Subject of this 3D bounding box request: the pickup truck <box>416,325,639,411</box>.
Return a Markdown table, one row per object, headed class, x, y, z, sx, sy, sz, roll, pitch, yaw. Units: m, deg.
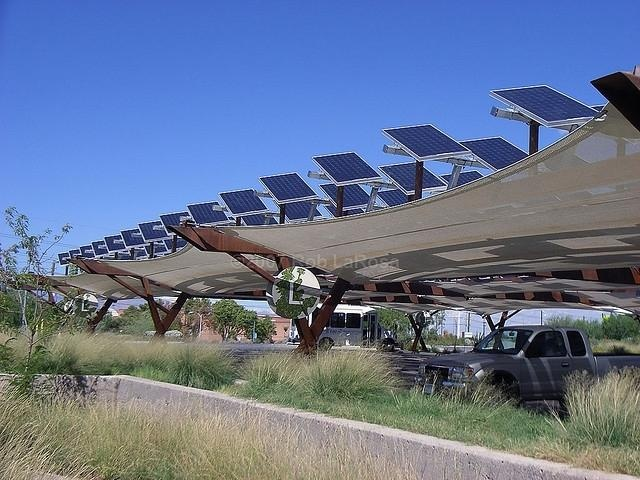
| class | x | y | z | sx | sy | sz | roll | pitch | yaw |
| --- | --- | --- | --- | --- | --- | --- | --- | --- | --- |
| pickup truck | 4.938 | 2.987 | 11.430 | 4.643 | 1.476 | 2.454 | 7 | -15 | -21 |
